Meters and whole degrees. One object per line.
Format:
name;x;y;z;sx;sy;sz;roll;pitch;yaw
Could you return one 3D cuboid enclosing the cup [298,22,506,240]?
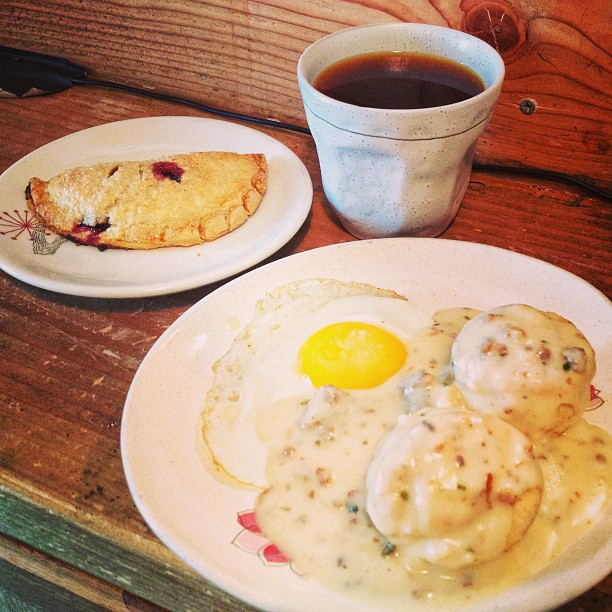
cup;0.165;-0.282;1.179;0.365;0.267;0.334;2;46;-2
